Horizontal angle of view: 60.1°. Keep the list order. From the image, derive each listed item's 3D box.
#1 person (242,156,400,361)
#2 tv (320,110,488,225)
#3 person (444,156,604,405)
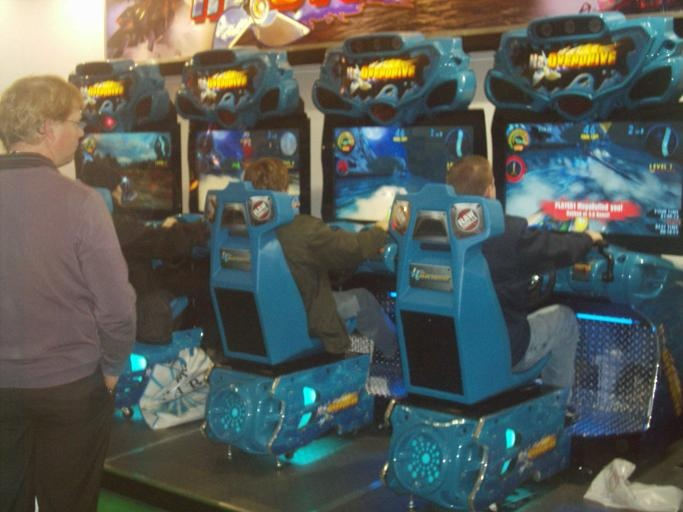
[{"bbox_3d":[-0.062,0.038,3.383,0.797,1.204,0.612,-5,8,-24],"label":"person"},{"bbox_3d":[0.368,-0.517,3.270,0.704,0.486,0.097,3,5,24],"label":"tv"},{"bbox_3d":[0.898,0.194,2.974,0.767,1.456,0.690,-18,16,-39],"label":"person"}]
